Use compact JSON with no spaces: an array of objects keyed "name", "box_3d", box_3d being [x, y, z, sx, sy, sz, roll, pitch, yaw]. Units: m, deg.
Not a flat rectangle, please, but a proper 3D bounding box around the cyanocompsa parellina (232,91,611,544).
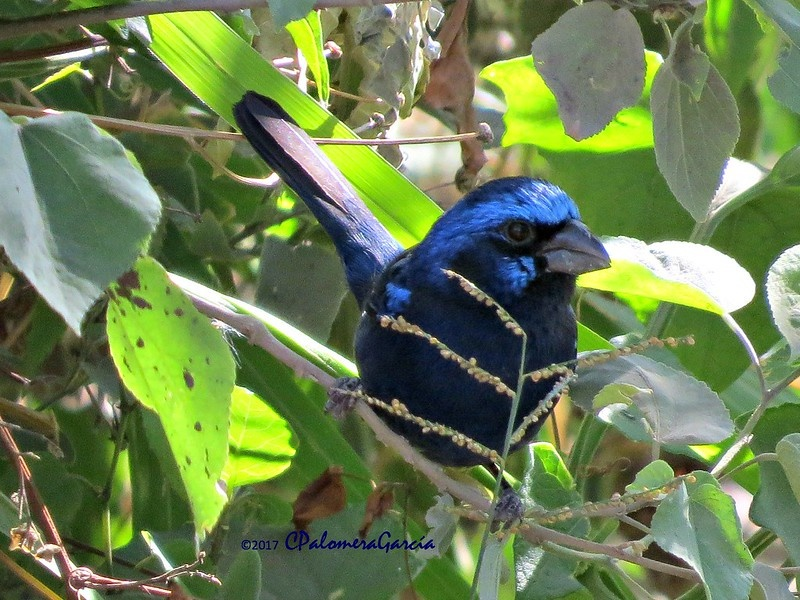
[{"name":"cyanocompsa parellina","box_3d":[-0.001,-0.152,2.503,0.503,0.695,1.119,-14,41,-34]}]
